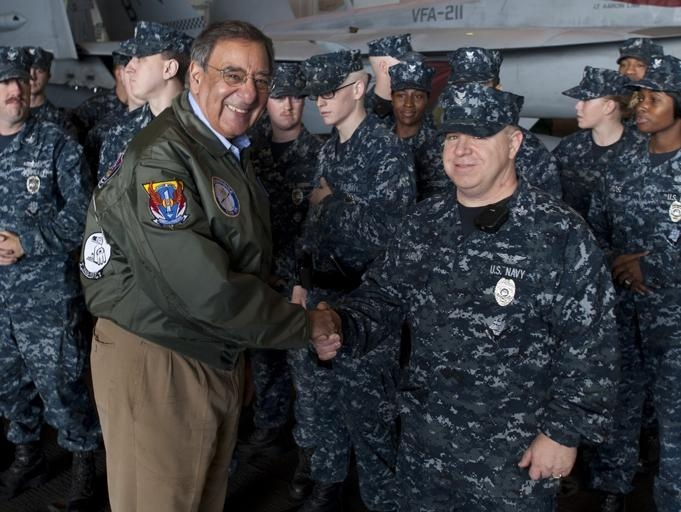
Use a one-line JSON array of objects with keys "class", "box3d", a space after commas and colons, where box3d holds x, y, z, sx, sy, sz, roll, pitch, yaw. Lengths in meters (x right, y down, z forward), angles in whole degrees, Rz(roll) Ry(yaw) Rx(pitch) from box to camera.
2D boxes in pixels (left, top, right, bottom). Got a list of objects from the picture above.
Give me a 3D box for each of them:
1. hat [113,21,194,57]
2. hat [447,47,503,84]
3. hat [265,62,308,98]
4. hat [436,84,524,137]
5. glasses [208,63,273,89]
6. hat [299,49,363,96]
[{"class": "hat", "box3d": [-1.144, -1.320, 4.103, 0.423, 0.146, 0.287, -5, 11, -24]}, {"class": "hat", "box3d": [0.947, -1.363, 4.670, 0.353, 0.244, 0.414, 8, 29, 16]}, {"class": "hat", "box3d": [-0.346, -1.245, 4.619, 0.366, 0.233, 0.512, 0, 4, 0]}, {"class": "hat", "box3d": [0.618, -0.680, 3.060, 0.364, 0.193, 0.469, 8, 16, 32]}, {"class": "glasses", "box3d": [-0.441, -0.801, 3.012, 0.257, 0.103, 0.082, -3, 17, -9]}, {"class": "hat", "box3d": [-0.049, -1.158, 4.111, 0.461, 0.207, 0.340, -31, 31, -29]}]
